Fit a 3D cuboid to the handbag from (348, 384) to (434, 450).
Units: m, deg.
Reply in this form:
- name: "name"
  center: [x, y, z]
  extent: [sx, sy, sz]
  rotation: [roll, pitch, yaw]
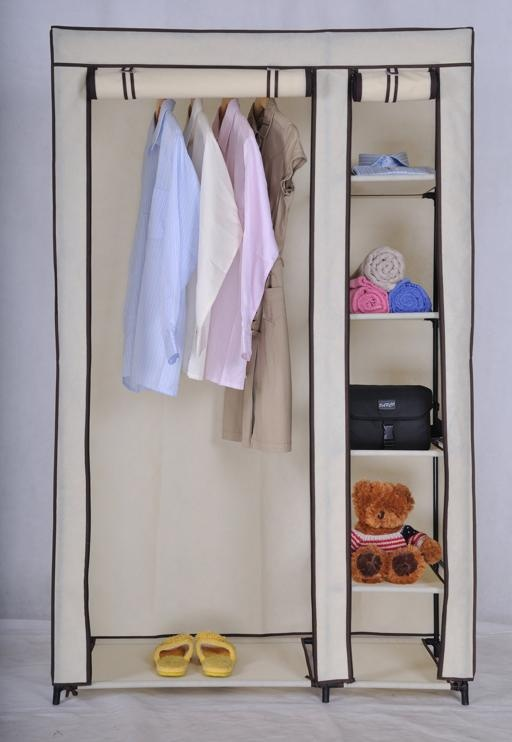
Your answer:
- name: "handbag"
  center: [0.396, 0.137, 2.696]
  extent: [0.246, 0.207, 0.173]
  rotation: [0, -6, 2]

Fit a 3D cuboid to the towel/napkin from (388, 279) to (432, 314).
- name: "towel/napkin"
  center: [0.451, -0.224, 2.699]
  extent: [0.124, 0.096, 0.042]
  rotation: [2, 4, 7]

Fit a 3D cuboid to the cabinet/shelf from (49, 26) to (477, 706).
- name: "cabinet/shelf"
  center: [0.038, -0.005, 2.798]
  extent: [1.204, 1.958, 0.565]
  rotation: [1, 4, 0]

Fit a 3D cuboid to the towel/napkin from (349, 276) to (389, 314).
- name: "towel/napkin"
  center: [0.327, -0.227, 2.698]
  extent: [0.121, 0.112, 0.113]
  rotation: [2, 4, 14]

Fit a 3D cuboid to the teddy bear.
- name: "teddy bear"
  center: [0.391, 0.492, 2.755]
  extent: [0.287, 0.341, 0.188]
  rotation: [-2, -16, 9]
